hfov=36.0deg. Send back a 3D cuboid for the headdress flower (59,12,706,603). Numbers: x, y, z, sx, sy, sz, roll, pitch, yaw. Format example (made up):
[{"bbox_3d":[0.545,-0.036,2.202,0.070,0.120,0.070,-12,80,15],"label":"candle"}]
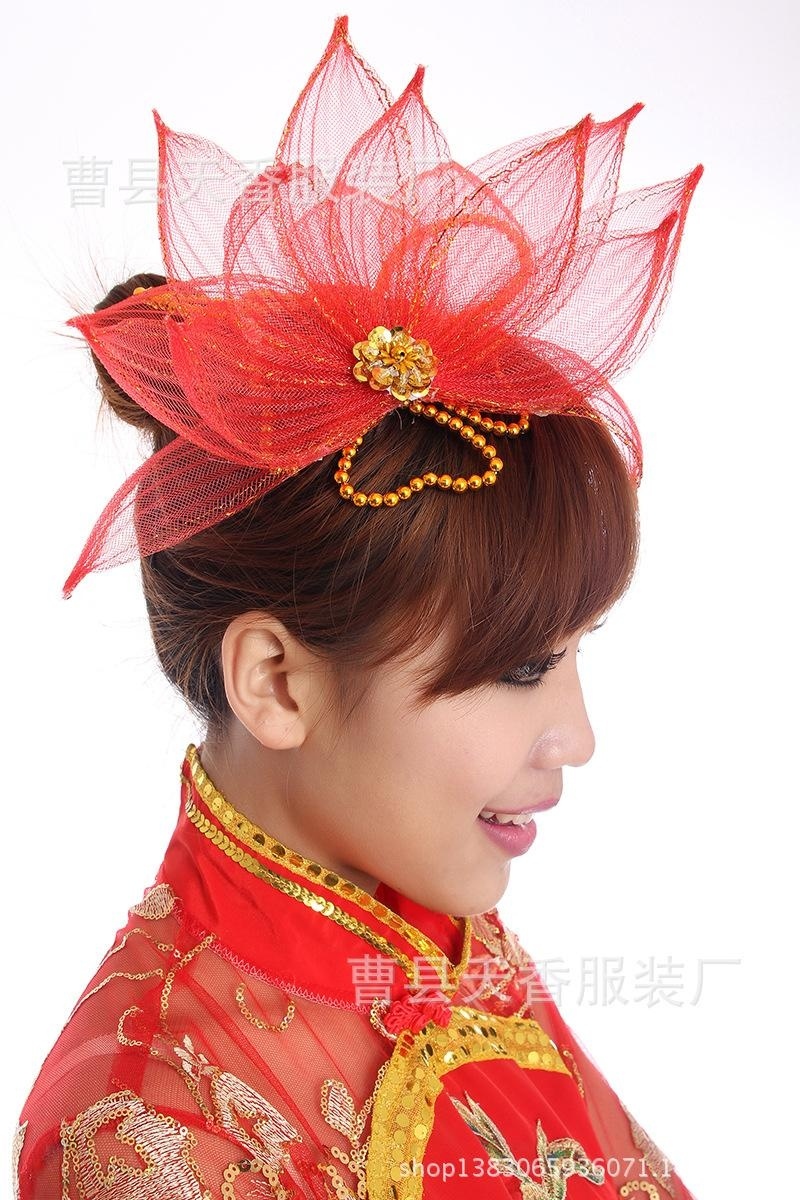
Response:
[{"bbox_3d":[-0.018,-0.248,1.243,0.551,0.584,0.260,11,-16,6],"label":"headdress flower"}]
